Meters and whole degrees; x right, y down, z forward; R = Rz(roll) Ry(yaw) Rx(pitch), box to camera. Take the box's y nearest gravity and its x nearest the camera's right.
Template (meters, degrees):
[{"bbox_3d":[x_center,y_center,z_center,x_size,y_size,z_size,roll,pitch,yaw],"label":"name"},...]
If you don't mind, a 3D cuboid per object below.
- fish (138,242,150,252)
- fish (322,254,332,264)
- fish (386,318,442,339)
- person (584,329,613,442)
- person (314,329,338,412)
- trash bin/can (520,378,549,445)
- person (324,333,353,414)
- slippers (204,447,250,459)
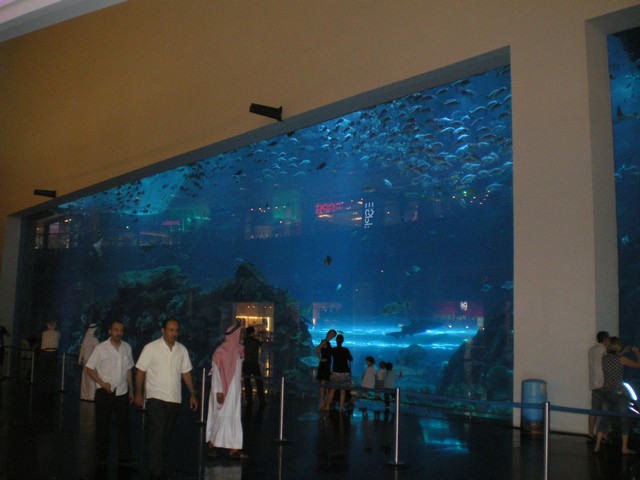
[{"bbox_3d":[-12.003,0.437,39.926,0.553,0.553,0.331,-13,2,-14],"label":"fish"},{"bbox_3d":[0.408,0.920,32.416,0.526,0.679,0.182,-2,-5,4],"label":"fish"},{"bbox_3d":[5.573,5.289,35.306,2.096,0.467,0.669,-19,45,-24],"label":"fish"},{"bbox_3d":[5.352,2.680,11.067,0.626,2.075,0.485,-1,8,-4],"label":"person"},{"bbox_3d":[0.115,3.253,14.781,0.526,1.980,0.599,9,-2,-38],"label":"person"},{"bbox_3d":[4.247,3.354,11.650,0.552,1.188,0.507,3,-6,-1],"label":"trash bin/can"},{"bbox_3d":[0.447,3.299,14.574,0.702,1.874,0.475,5,-1,-38],"label":"person"},{"bbox_3d":[-1.670,3.724,10.193,0.768,0.223,0.259,-6,-8,35],"label":"slippers"}]
